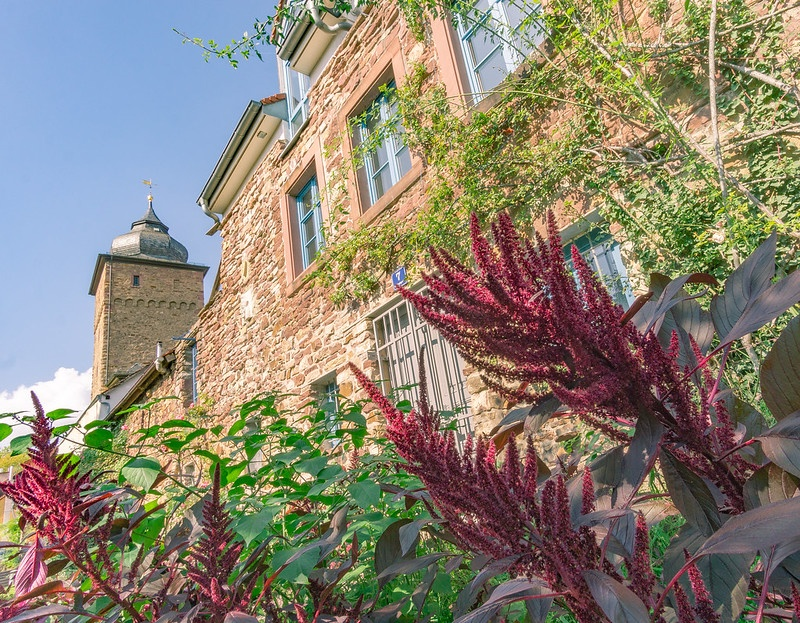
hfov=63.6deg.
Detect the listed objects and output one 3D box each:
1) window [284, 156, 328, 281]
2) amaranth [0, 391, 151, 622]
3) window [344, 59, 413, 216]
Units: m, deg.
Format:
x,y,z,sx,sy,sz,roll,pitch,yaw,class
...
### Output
x,y,z,sx,sy,sz,roll,pitch,yaw,class
-1.180,-1.135,8.098,0.133,1.811,0.904,15,-39,-32,window
-1.022,0.617,1.998,0.327,0.764,0.470,-1,-28,-42,amaranth
-0.216,-1.796,6.785,0.130,1.975,1.062,14,-38,-33,window
